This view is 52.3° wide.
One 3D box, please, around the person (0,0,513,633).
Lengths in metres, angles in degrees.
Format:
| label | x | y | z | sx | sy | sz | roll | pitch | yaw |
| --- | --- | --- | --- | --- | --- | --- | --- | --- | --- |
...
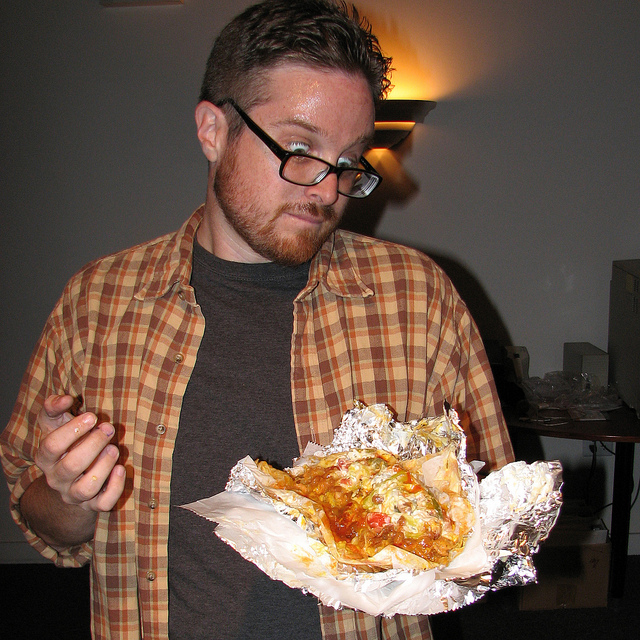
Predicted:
| label | x | y | z | sx | sy | sz | roll | pitch | yaw |
| --- | --- | --- | --- | --- | --- | --- | --- | --- | --- |
| person | -0.113 | 0.003 | 1.437 | 1.067 | 1.247 | 0.433 | 7 | 1 | 7 |

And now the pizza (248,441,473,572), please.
| label | x | y | z | sx | sy | sz | roll | pitch | yaw |
| --- | --- | --- | --- | --- | --- | --- | --- | --- | --- |
| pizza | 0.090 | 0.296 | 1.064 | 0.270 | 0.081 | 0.207 | 17 | 31 | 33 |

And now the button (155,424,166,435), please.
| label | x | y | z | sx | sy | sz | roll | pitch | yaw |
| --- | --- | --- | --- | --- | --- | --- | --- | --- | --- |
| button | -0.328 | 0.225 | 1.339 | 0.023 | 0.019 | 0.006 | 7 | 1 | 25 |

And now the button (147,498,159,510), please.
| label | x | y | z | sx | sy | sz | roll | pitch | yaw |
| --- | --- | --- | --- | --- | --- | --- | --- | --- | --- |
| button | -0.337 | 0.368 | 1.306 | 0.023 | 0.020 | 0.005 | -2 | -10 | 5 |

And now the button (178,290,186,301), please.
| label | x | y | z | sx | sy | sz | roll | pitch | yaw |
| --- | --- | --- | --- | --- | --- | --- | --- | --- | --- |
| button | -0.307 | -0.054 | 1.442 | 0.005 | 0.009 | 0.035 | -1 | 30 | -36 |

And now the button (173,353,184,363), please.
| label | x | y | z | sx | sy | sz | roll | pitch | yaw |
| --- | --- | --- | --- | --- | --- | --- | --- | --- | --- |
| button | -0.301 | 0.081 | 1.382 | 0.021 | 0.019 | 0.006 | 0 | -6 | 10 |

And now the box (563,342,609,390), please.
| label | x | y | z | sx | sy | sz | roll | pitch | yaw |
| --- | --- | --- | --- | --- | --- | --- | --- | --- | --- |
| box | 1.251 | 0.226 | 3.065 | 0.110 | 0.182 | 0.176 | -4 | 14 | -8 |
